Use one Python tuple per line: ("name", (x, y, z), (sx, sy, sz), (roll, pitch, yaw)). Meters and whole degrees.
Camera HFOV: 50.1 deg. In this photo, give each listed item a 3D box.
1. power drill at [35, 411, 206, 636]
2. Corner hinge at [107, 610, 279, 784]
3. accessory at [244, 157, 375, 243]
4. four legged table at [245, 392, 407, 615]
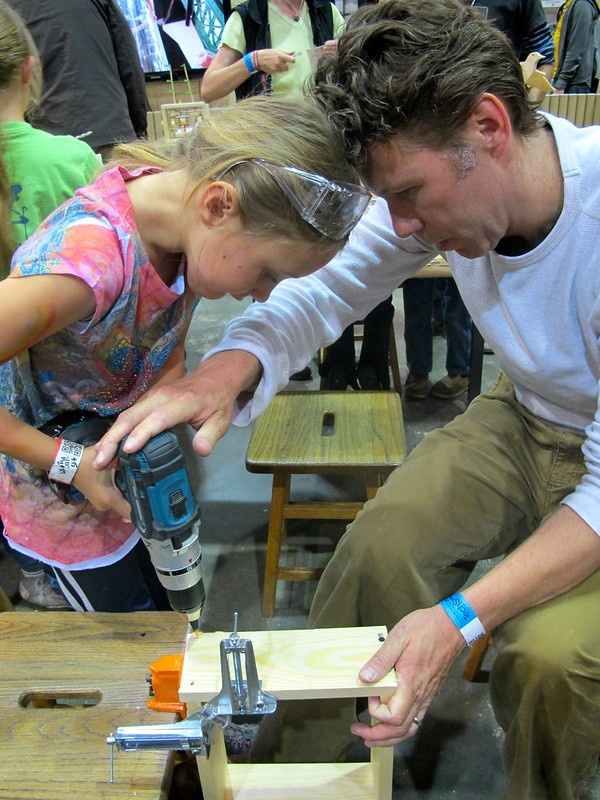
("power drill", (-0.311, 0.158, 1.115), (0.150, 0.303, 0.504), (-24, 34, -29))
("Corner hinge", (-0.133, 0.389, 0.817), (0.223, 0.067, 0.165), (-15, 70, 10))
("accessory", (0.019, -0.332, 1.088), (0.224, 0.125, 0.170), (-3, 19, -19))
("four legged table", (0.196, 0.367, 2.203), (0.639, 0.656, 0.551), (-5, 21, 4))
